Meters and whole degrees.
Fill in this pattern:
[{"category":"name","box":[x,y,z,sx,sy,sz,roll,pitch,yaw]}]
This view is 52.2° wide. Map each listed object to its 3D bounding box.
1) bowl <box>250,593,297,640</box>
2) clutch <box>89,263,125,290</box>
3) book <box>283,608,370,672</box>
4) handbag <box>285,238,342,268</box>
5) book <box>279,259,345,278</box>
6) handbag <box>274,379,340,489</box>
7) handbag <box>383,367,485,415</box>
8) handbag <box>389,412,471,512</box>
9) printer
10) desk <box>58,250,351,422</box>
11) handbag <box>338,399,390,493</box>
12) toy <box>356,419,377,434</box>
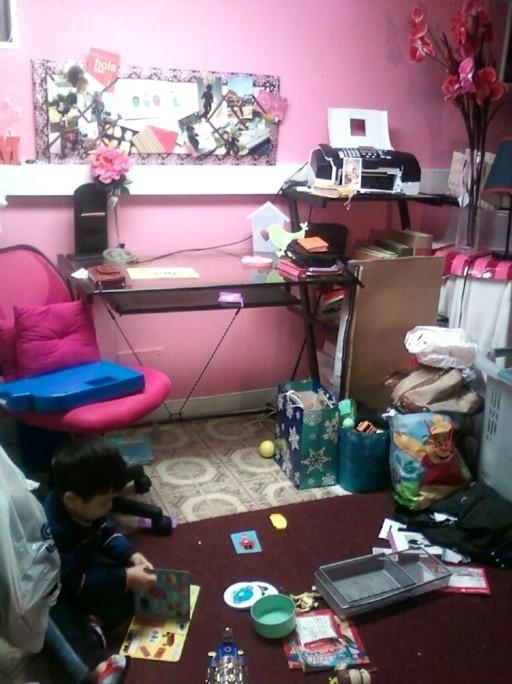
[{"category":"bowl","box":[0.046,0.700,1.335,0.093,0.046,0.092,-2,9,0]},{"category":"clutch","box":[-0.501,-0.227,1.757,0.090,0.046,0.129,-2,21,-15]},{"category":"book","box":[0.163,0.729,1.293,0.198,0.025,0.195,-1,14,-7]},{"category":"handbag","box":[0.218,-0.383,2.071,0.142,0.059,0.164,-5,29,-18]},{"category":"book","box":[0.211,-0.277,2.032,0.261,0.058,0.163,2,14,4]},{"category":"handbag","box":[0.207,0.364,2.078,0.216,0.361,0.319,-2,15,-12]},{"category":"handbag","box":[0.665,0.185,1.999,0.226,0.095,0.221,-20,18,-27]},{"category":"handbag","box":[0.611,0.430,1.849,0.291,0.328,0.182,-9,-6,-15]},{"category":"printer","box":[0.456,-0.840,2.314,0.496,0.370,0.282,-3,34,-12]},{"category":"desk","box":[-0.273,0.063,2.241,1.130,0.738,0.572,-2,10,-15]},{"category":"handbag","box":[0.413,0.446,1.979,0.209,0.264,0.109,4,15,10]},{"category":"toy","box":[0.415,0.324,1.973,0.045,0.057,0.060,-42,9,-16]}]
